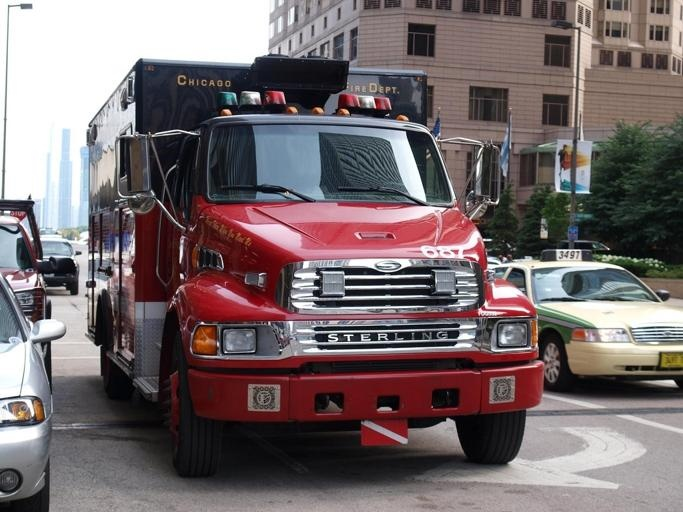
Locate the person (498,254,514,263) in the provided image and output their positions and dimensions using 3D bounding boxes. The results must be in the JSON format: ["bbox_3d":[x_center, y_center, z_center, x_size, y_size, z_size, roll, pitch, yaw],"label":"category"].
[{"bbox_3d":[7.474,0.076,34.287,0.332,0.310,0.894,-9,6,1],"label":"person"}]

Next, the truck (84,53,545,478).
[{"bbox_3d":[-0.812,-0.135,8.321,3.018,2.890,5.662,1,-2,-20],"label":"truck"}]
